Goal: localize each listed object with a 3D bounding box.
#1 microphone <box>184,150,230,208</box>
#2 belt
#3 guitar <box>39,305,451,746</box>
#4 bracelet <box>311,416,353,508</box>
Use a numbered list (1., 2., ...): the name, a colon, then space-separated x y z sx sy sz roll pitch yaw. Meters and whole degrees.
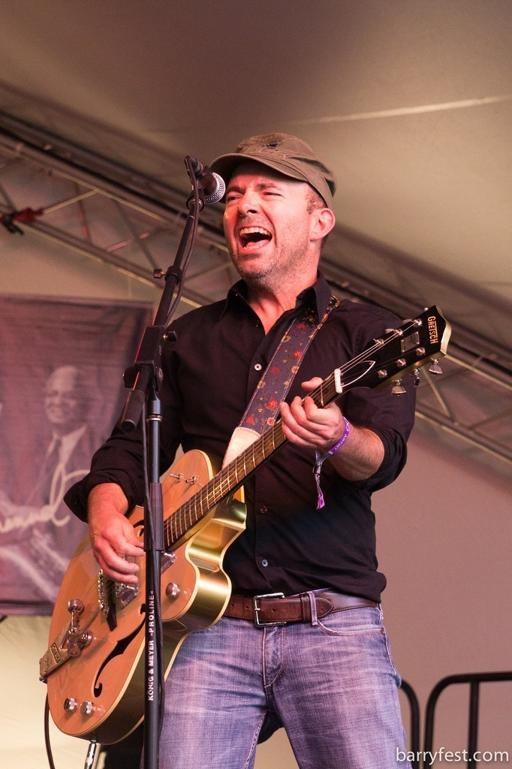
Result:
1. microphone: -0.125 -0.502 1.932 0.072 0.067 0.188 2 -15 15
2. belt: 0.070 0.488 1.729 0.228 0.045 0.126 -4 -8 4
3. guitar: -0.258 0.370 1.844 0.436 0.942 0.169 -6 24 -34
4. bracelet: 0.168 0.160 1.592 0.110 0.175 0.042 16 20 40
